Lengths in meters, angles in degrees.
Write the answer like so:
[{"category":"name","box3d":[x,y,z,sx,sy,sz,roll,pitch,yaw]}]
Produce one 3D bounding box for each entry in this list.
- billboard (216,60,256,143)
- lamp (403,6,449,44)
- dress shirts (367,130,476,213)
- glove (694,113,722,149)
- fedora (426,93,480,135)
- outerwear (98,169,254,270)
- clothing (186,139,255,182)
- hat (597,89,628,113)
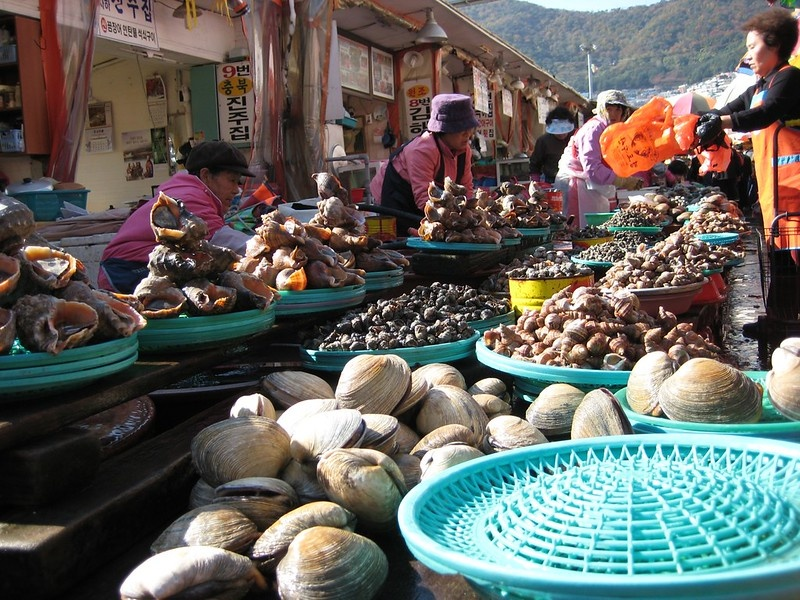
[{"category":"billboard","box3d":[-2.074,-2.460,7.184,0.537,1.090,0.324,-9,9,-4]},{"category":"lamp","box3d":[0.389,-4.184,8.728,0.541,0.522,0.515,-1,20,1]},{"category":"dress shirts","box3d":[0.233,-0.963,4.561,0.888,0.769,0.865,2,15,-1]},{"category":"glove","box3d":[2.254,-1.255,4.151,0.128,0.255,0.201,14,-25,-7]},{"category":"fedora","box3d":[0.376,-1.364,4.240,0.350,0.160,0.327,-2,16,5]},{"category":"outerwear","box3d":[-1.265,-0.420,2.886,0.426,0.296,0.178,-27,19,-15]},{"category":"clothing","box3d":[-0.960,-0.752,3.078,0.302,0.138,0.211,-4,9,-22]},{"category":"hat","box3d":[2.220,-2.116,6.104,0.271,0.115,0.326,-3,-19,12]}]
